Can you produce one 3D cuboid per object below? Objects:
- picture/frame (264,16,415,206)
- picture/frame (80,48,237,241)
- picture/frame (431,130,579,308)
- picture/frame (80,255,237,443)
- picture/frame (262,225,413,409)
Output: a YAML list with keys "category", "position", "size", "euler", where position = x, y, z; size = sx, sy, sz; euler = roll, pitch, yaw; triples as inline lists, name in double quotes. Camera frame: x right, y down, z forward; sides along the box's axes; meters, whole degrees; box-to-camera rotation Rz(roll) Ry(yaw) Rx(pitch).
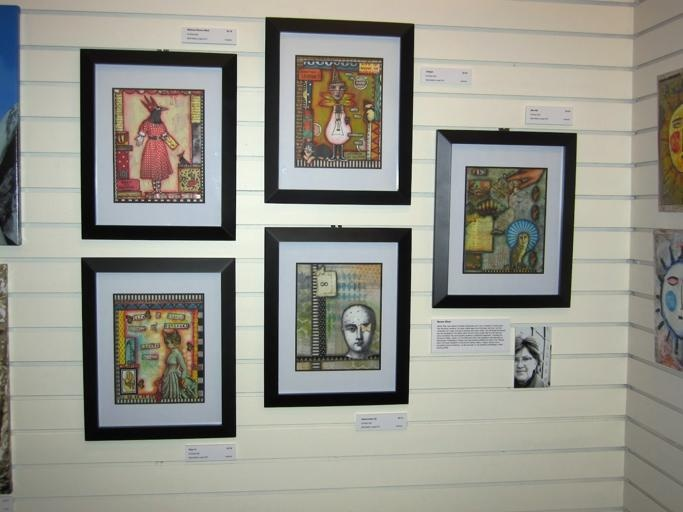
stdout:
- category: "picture/frame"
  position: [-0.037, -0.599, 3.504]
  size: [0.687, 0.894, 0.044]
  euler: [1, 2, -6]
- category: "picture/frame"
  position: [-0.748, -0.466, 3.472]
  size: [0.688, 0.900, 0.043]
  euler: [1, 5, -7]
- category: "picture/frame"
  position: [0.628, -0.171, 3.574]
  size: [0.666, 0.871, 0.039]
  euler: [0, 4, -4]
- category: "picture/frame"
  position: [-0.731, 0.377, 3.524]
  size: [0.529, 0.642, 0.014]
  euler: [5, -31, -22]
- category: "picture/frame"
  position: [-0.046, 0.219, 3.539]
  size: [0.674, 0.901, 0.055]
  euler: [0, 4, -6]
